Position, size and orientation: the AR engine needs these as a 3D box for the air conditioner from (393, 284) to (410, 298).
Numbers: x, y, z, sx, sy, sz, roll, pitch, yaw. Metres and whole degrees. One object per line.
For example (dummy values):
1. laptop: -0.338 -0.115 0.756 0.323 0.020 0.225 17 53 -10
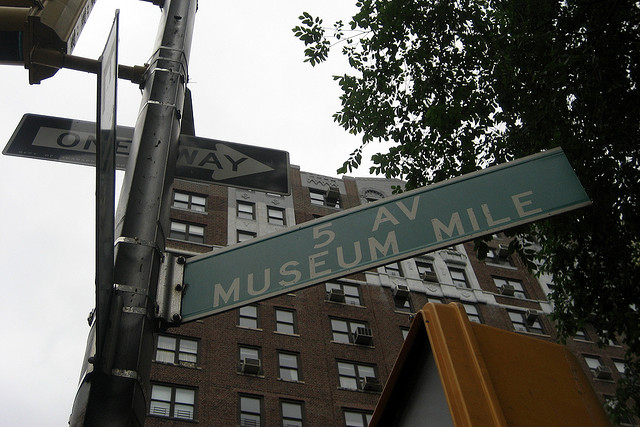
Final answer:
1. air conditioner: 6.114 5.583 44.724 1.255 1.215 0.745 12 -56 -5

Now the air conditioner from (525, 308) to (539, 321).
1. air conditioner: 15.942 7.628 45.737 1.075 1.046 0.749 14 -15 -26

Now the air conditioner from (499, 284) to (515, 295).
1. air conditioner: 14.622 6.052 47.360 1.254 0.857 0.689 7 -30 -11

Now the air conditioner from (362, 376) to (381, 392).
1. air conditioner: 3.112 10.514 37.585 1.271 0.863 0.744 5 -69 -7

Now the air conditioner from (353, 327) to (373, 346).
1. air conditioner: 2.842 8.193 40.266 1.088 0.667 1.104 13 -37 6
